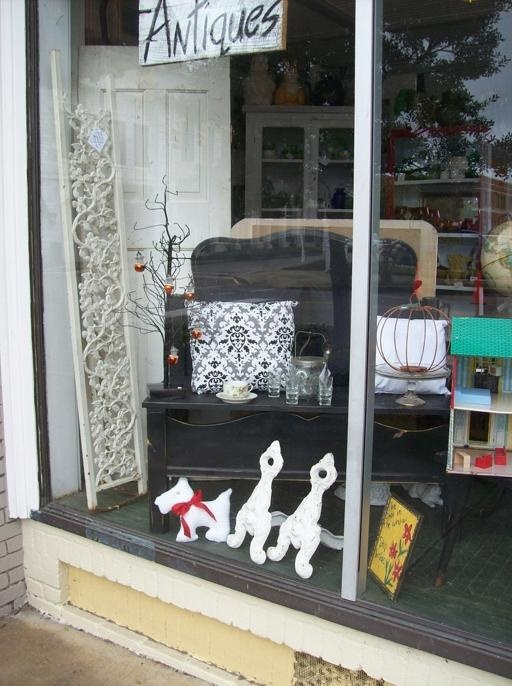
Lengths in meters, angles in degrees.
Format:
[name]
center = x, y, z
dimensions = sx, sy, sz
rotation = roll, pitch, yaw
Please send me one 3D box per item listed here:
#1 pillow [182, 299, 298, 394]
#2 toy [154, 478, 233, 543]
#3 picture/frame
[pillow]
center = -0.037, 0.008, 2.680
dimensions = 0.419, 0.343, 0.135
rotation = -1, -5, 8
[toy]
center = -0.219, 0.612, 2.518
dimensions = 0.277, 0.222, 0.150
rotation = -1, -2, 1
[picture/frame]
center = 0.422, 0.636, 2.143
dimensions = 0.117, 0.248, 0.202
rotation = 5, 11, 8
